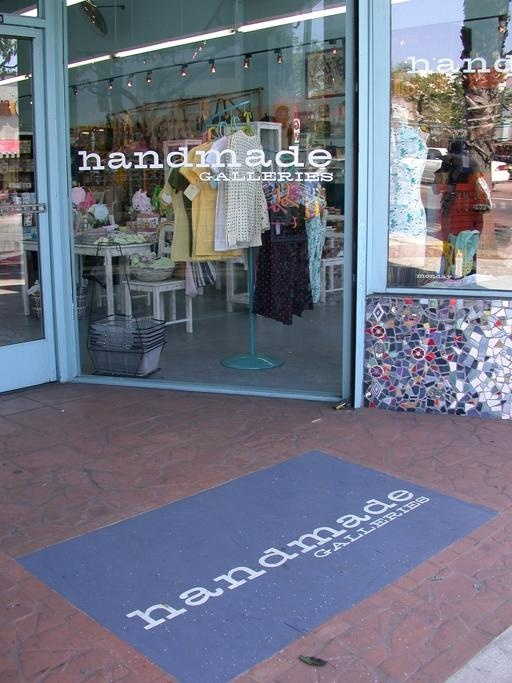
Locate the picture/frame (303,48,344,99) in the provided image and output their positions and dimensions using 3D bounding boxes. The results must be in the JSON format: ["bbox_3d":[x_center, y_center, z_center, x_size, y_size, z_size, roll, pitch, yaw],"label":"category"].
[{"bbox_3d":[0.440,-1.742,3.622,0.291,0.321,0.051,4,9,35],"label":"picture/frame"}]

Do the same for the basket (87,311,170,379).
[{"bbox_3d":[-1.015,-0.005,4.579,0.689,0.454,0.470,5,15,16],"label":"basket"}]

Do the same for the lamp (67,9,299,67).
[{"bbox_3d":[-0.620,-2.232,4.023,1.511,0.443,0.175,0,8,10],"label":"lamp"}]
